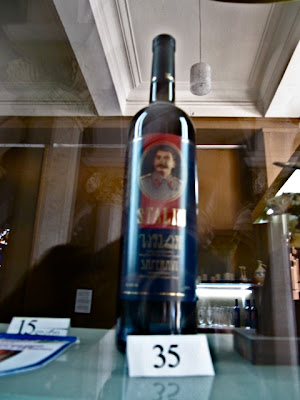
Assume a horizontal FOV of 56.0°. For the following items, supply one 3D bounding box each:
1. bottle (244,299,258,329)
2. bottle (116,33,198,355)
[{"bbox_3d":[0.099,0.112,0.277,0.012,0.028,0.029,-5,-18,18],"label":"bottle"},{"bbox_3d":[0.011,-0.027,0.289,0.074,0.327,0.050,3,-18,-7],"label":"bottle"}]
